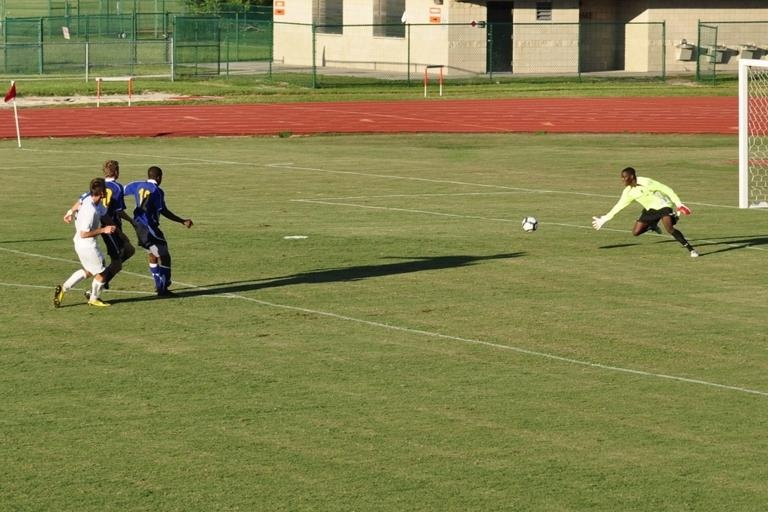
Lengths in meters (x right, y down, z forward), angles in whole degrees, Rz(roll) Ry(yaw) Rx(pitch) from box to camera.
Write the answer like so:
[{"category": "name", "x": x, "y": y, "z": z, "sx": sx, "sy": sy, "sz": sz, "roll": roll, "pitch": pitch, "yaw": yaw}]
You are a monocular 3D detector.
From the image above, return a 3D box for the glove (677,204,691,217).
[{"category": "glove", "x": 5.224, "y": -0.826, "z": 19.232, "sx": 0.247, "sy": 0.162, "sz": 0.513, "roll": -2, "pitch": 6, "yaw": 7}]

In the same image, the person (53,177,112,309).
[{"category": "person", "x": -4.400, "y": -0.228, "z": 16.432, "sx": 0.863, "sy": 1.931, "sz": 0.962, "roll": -1, "pitch": 10, "yaw": -12}]

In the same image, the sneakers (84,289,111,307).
[{"category": "sneakers", "x": -4.244, "y": 0.622, "z": 16.560, "sx": 0.528, "sy": 0.209, "sz": 0.181, "roll": 3, "pitch": 25, "yaw": 1}]

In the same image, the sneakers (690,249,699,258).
[{"category": "sneakers", "x": 5.323, "y": -0.060, "z": 19.127, "sx": 0.149, "sy": 0.109, "sz": 0.151, "roll": -1, "pitch": 5, "yaw": 0}]
